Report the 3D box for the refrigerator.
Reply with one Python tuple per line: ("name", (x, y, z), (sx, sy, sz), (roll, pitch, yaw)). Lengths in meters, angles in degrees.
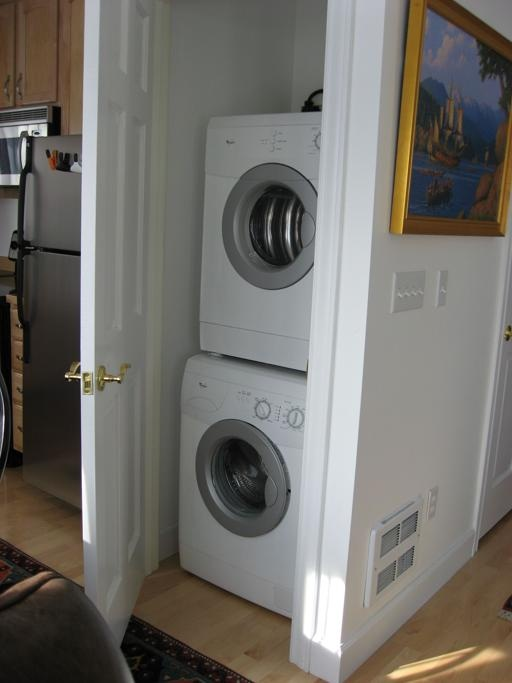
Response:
("refrigerator", (-0.973, -0.066, 2.387), (0.556, 1.670, 0.211), (6, 6, 43))
